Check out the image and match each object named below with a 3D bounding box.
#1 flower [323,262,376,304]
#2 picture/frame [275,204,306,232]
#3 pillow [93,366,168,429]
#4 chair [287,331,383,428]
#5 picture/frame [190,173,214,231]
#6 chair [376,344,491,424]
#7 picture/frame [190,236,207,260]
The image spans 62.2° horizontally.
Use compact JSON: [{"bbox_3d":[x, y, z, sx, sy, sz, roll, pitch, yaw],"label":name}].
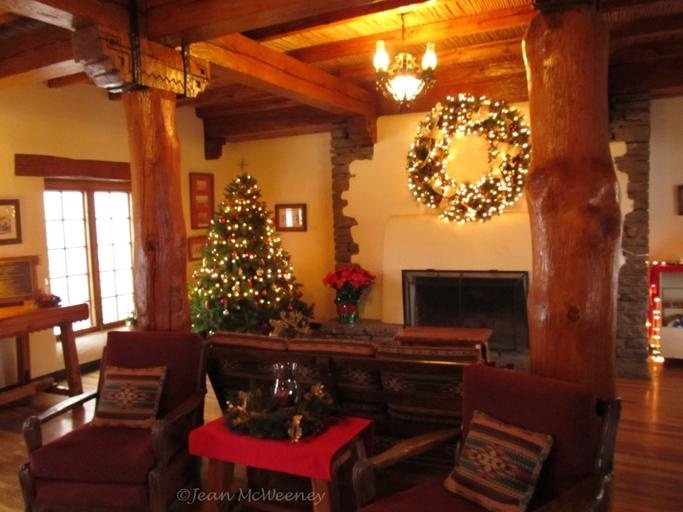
[{"bbox_3d":[0.105,0.323,6.775,0.494,0.424,0.485,0,1,-1],"label":"flower"},{"bbox_3d":[-0.685,-0.536,7.855,0.391,0.316,0.028,1,4,21],"label":"picture/frame"},{"bbox_3d":[-1.451,0.970,3.865,0.491,0.540,0.141,-9,-29,-11],"label":"pillow"},{"bbox_3d":[-0.013,0.776,3.858,0.560,0.464,0.551,1,8,20],"label":"chair"},{"bbox_3d":[-1.914,-0.748,7.750,0.100,0.771,0.431,0,3,25],"label":"picture/frame"},{"bbox_3d":[0.683,0.903,3.861,0.792,0.538,0.581,-4,-14,31],"label":"chair"},{"bbox_3d":[-1.855,-0.095,7.326,0.035,0.343,0.353,-2,-2,30],"label":"picture/frame"}]
